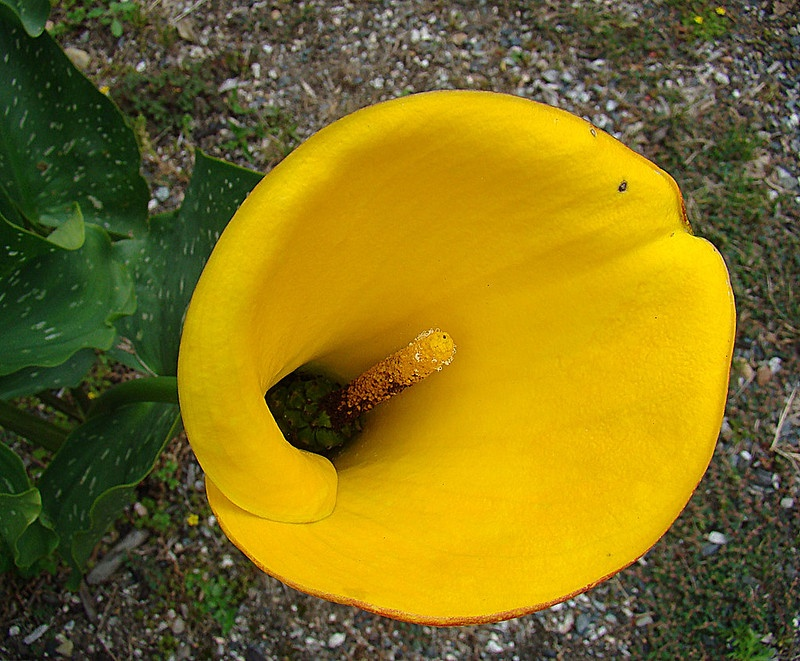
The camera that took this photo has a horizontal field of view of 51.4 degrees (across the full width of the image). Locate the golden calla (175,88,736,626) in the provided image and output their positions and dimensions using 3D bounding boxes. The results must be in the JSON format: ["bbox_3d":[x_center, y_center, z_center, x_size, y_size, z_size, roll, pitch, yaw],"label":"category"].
[{"bbox_3d":[0.081,0.053,1.027,0.595,0.388,0.614,21,81,3],"label":"golden calla"}]
